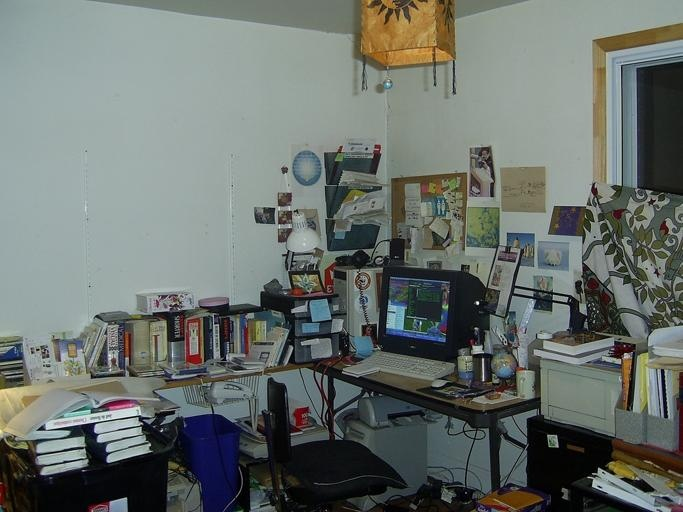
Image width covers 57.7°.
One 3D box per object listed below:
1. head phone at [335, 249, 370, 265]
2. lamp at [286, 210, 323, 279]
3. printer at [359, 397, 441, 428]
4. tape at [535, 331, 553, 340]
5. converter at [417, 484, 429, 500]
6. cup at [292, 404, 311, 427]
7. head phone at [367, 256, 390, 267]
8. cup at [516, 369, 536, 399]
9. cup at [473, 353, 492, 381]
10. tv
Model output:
[{"bbox_3d":[0.085,0.022,4.176,0.109,0.082,0.179,4,-10,-42],"label":"head phone"},{"bbox_3d":[-0.253,-0.089,3.950,0.217,0.445,0.226,-13,39,-10],"label":"lamp"},{"bbox_3d":[0.293,0.951,3.788,0.300,0.113,0.231,5,1,-27],"label":"printer"},{"bbox_3d":[1.056,0.411,3.204,0.043,0.027,0.070,0,1,-23],"label":"tape"},{"bbox_3d":[0.492,1.398,3.642,0.045,0.062,0.145,3,7,25],"label":"converter"},{"bbox_3d":[-0.239,0.968,3.771,0.101,0.102,0.140,2,0,12],"label":"cup"},{"bbox_3d":[0.244,0.036,4.197,0.103,0.049,0.076,-6,0,-24],"label":"head phone"},{"bbox_3d":[0.930,0.646,3.120,0.083,0.130,0.138,3,9,33],"label":"cup"},{"bbox_3d":[0.763,0.606,3.408,0.125,0.146,0.127,1,0,0],"label":"cup"},{"bbox_3d":[0.517,0.347,3.822,0.510,0.502,0.440,4,2,20],"label":"tv"}]
